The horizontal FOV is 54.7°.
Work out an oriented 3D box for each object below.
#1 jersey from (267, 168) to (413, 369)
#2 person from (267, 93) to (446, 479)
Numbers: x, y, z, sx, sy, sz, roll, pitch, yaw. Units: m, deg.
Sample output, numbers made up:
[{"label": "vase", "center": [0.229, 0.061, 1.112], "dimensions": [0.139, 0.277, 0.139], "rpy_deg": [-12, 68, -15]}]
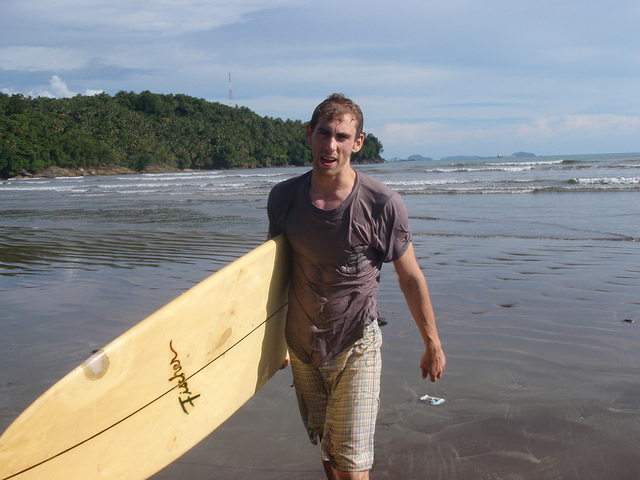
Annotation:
[{"label": "jersey", "center": [0.106, 0.177, 3.509], "dimensions": [0.800, 1.085, 0.357], "rpy_deg": [-1, 13, 2]}, {"label": "person", "center": [0.194, 0.263, 3.604], "dimensions": [0.744, 2.157, 0.872], "rpy_deg": [-10, 16, -31]}]
